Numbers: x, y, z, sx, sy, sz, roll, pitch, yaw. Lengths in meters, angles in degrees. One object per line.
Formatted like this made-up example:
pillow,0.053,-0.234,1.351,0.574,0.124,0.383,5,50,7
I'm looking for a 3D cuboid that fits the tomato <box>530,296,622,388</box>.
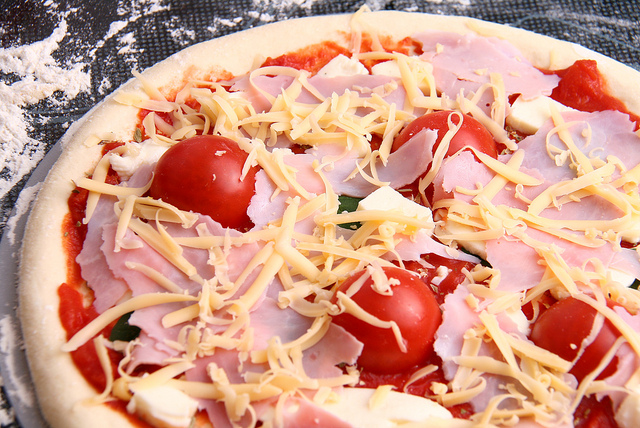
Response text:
tomato,1.078,0.523,2.718,0.264,0.151,0.336,-43,81,-7
